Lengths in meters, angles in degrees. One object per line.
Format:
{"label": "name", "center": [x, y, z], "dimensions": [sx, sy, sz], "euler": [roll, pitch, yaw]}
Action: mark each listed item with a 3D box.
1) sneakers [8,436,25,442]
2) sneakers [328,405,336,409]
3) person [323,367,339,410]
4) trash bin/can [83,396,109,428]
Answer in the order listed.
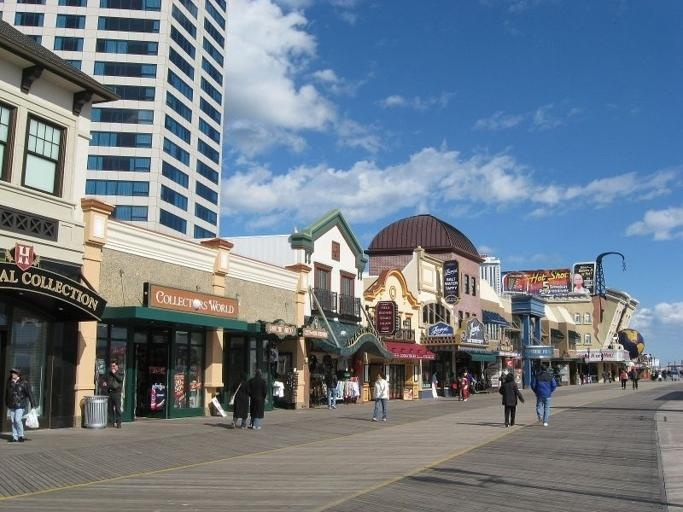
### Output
{"label": "sneakers", "center": [-8.883, 5.022, 18.755], "dimensions": [0.430, 0.205, 0.155], "euler": [6, -11, 2]}
{"label": "sneakers", "center": [-0.502, 7.448, 33.694], "dimensions": [0.417, 0.289, 0.146], "euler": [-2, -1, -20]}
{"label": "person", "center": [-0.525, 6.696, 34.241], "dimensions": [0.500, 1.856, 1.525], "euler": [-1, -13, -3]}
{"label": "trash bin/can", "center": [-7.953, 5.143, 22.464], "dimensions": [0.869, 1.209, 0.895], "euler": [7, -17, -29]}
